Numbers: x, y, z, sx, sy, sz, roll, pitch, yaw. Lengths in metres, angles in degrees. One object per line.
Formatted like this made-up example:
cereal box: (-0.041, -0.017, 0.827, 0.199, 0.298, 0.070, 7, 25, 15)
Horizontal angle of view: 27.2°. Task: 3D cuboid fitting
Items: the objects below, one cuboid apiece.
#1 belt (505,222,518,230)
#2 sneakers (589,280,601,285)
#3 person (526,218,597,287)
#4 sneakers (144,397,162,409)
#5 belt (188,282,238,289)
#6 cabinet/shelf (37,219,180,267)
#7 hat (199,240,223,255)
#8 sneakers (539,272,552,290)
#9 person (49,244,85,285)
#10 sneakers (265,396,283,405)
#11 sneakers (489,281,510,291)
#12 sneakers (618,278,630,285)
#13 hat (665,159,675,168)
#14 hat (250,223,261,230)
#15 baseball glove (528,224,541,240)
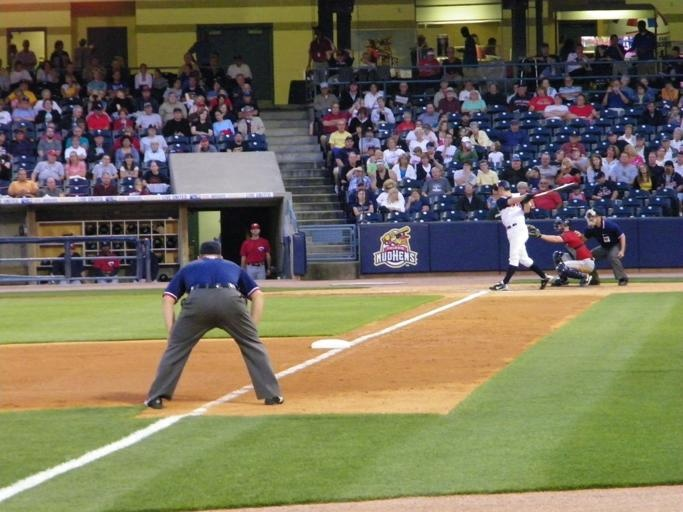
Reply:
belt: (3.832, -0.632, 31.421, 0.172, 0.191, 0.378, -5, 8, -39)
sneakers: (5.877, 0.589, 32.538, 0.148, 0.123, 0.143, 1, 10, 10)
person: (5.022, -0.075, 32.455, 1.767, 1.447, 1.141, 0, 8, -26)
sneakers: (-2.970, 2.345, 22.478, 0.291, 0.120, 0.122, -3, -2, 11)
belt: (-2.024, 0.472, 22.404, 0.719, 0.112, 0.097, -1, 6, -7)
cabinet/shelf: (-6.484, -0.545, 38.133, 3.758, 1.279, 0.401, 3, -34, -14)
hat: (-2.118, -0.130, 22.623, 0.300, 0.139, 0.203, 3, 5, 42)
sneakers: (4.673, 0.572, 31.948, 0.197, 0.225, 0.554, -15, 2, -2)
person: (-7.098, 0.165, 36.781, 0.789, 1.197, 2.395, -2, 6, -11)
sneakers: (-1.051, 2.312, 22.536, 0.307, 0.101, 0.203, -10, -29, -2)
sneakers: (3.611, 0.679, 32.061, 0.484, 0.197, 0.166, -4, 1, 44)
sneakers: (6.560, 0.585, 32.586, 0.222, 0.173, 0.431, 0, 6, 6)
hat: (8.506, -2.374, 36.459, 0.174, 0.170, 0.229, -2, -10, 9)
hat: (-2.178, -0.831, 36.616, 0.221, 0.303, 0.333, -2, -5, -6)
baseball glove: (4.589, -0.594, 33.274, 0.282, 0.147, 0.708, 38, 3, 23)
